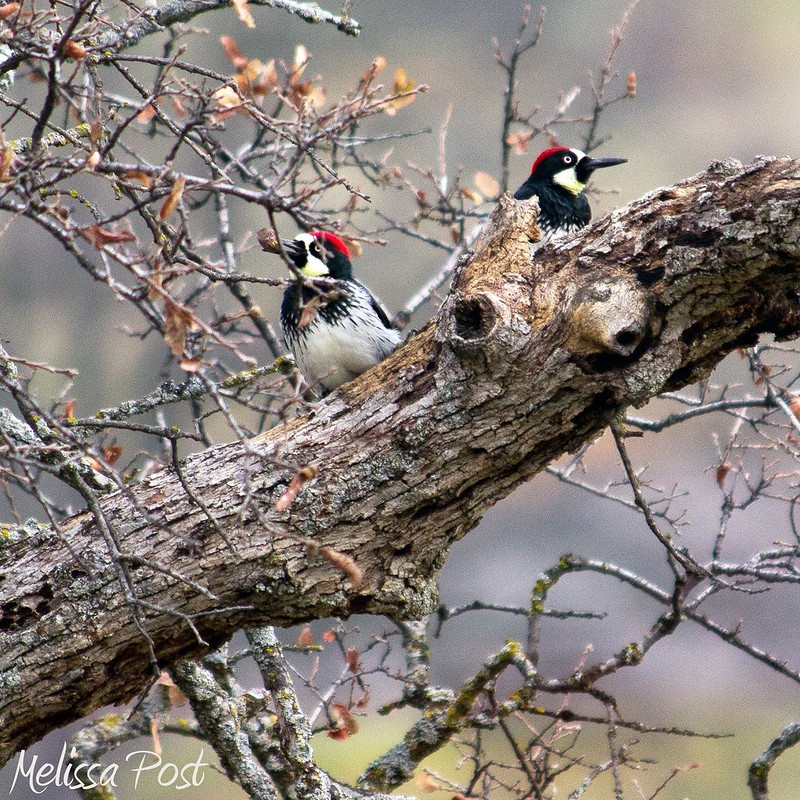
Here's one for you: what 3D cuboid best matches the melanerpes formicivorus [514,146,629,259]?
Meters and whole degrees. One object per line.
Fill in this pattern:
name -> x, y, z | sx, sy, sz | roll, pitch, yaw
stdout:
melanerpes formicivorus -> 0.916, -1.149, 9.552 | 0.665, 0.404, 0.569 | 6, -71, 29
